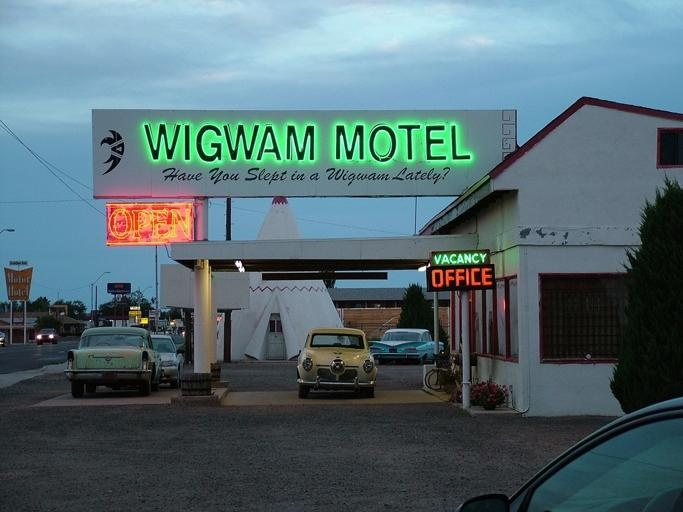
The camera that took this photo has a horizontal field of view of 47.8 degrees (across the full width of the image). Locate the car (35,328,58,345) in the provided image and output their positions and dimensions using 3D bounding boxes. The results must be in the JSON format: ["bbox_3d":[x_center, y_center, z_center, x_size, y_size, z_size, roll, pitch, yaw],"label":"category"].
[{"bbox_3d":[-32.304,8.795,85.135,1.592,1.428,2.914,0,-13,-11],"label":"car"}]

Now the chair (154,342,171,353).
[{"bbox_3d":[-5.410,2.783,23.421,0.300,0.263,0.508,3,-8,-22],"label":"chair"}]

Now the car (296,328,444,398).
[{"bbox_3d":[-0.096,2.678,19.348,1.848,1.730,1.809,-1,-5,1],"label":"car"}]

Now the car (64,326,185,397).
[{"bbox_3d":[-5.663,2.839,20.518,1.577,1.153,3.113,-1,-10,-2],"label":"car"}]

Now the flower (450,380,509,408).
[{"bbox_3d":[2.937,2.876,15.851,0.764,0.490,0.614,-1,-1,20],"label":"flower"}]
